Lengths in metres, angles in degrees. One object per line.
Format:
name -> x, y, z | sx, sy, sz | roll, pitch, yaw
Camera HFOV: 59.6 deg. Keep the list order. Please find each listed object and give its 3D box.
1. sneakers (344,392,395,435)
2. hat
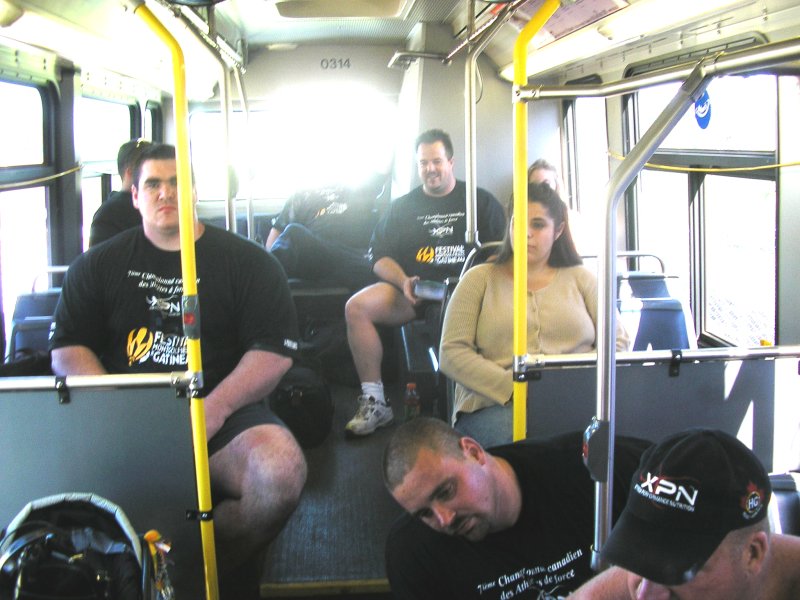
sneakers -> -0.214, 0.783, 4.813 | 0.180, 0.225, 0.445 | 8, 17, 36
hat -> 0.836, 0.594, 2.030 | 0.423, 0.419, 0.237 | 6, 9, 27
